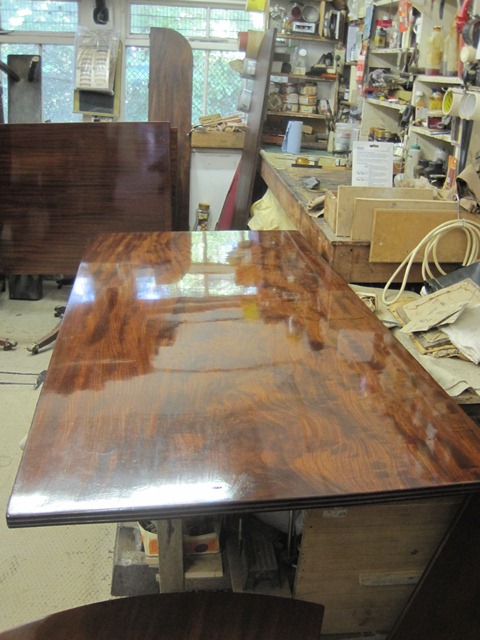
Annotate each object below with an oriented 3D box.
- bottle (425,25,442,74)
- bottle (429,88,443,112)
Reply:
[{"bbox_3d":[1.006,-1.376,2.604,0.091,0.217,0.061,3,19,3],"label":"bottle"},{"bbox_3d":[1.035,-1.161,2.677,0.066,0.119,0.163,8,19,17],"label":"bottle"}]
